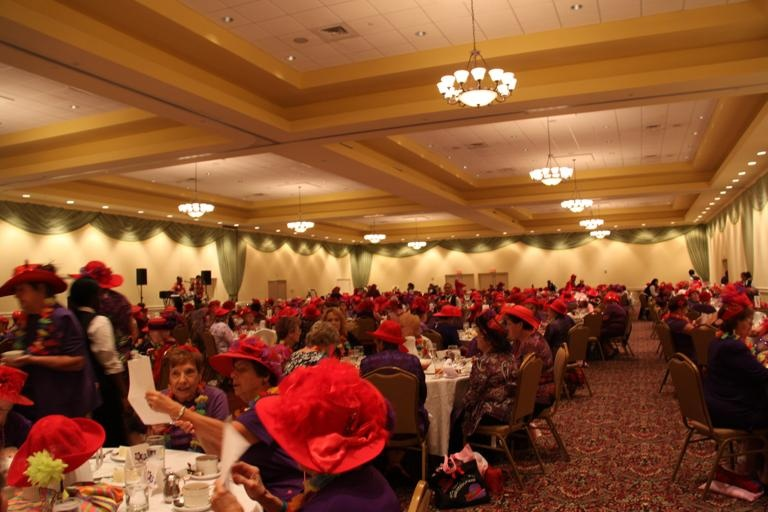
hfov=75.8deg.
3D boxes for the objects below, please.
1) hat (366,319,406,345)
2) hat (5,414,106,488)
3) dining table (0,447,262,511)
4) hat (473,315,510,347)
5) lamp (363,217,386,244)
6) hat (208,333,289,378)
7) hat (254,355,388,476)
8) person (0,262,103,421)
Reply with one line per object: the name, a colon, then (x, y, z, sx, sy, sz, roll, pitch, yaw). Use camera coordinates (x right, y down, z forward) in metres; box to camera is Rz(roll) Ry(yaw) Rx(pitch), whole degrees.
hat: (0.007, 0.762, 5.147, 0.311, 0.110, 0.277, 20, 9, 42)
hat: (-1.682, 0.995, 2.627, 0.361, 0.163, 0.411, 8, 38, 7)
dining table: (-1.337, 1.198, 2.622, 0.774, 0.164, 0.719, -1, -11, 8)
hat: (1.146, 0.810, 5.202, 0.338, 0.384, 0.217, 1, -5, 12)
lamp: (-0.459, -1.009, 24.034, 1.158, 1.521, 1.072, 0, 9, -2)
hat: (-0.920, 0.731, 3.424, 0.414, 0.203, 0.352, 18, -26, -37)
hat: (-0.266, 0.692, 2.170, 0.566, 0.456, 0.177, 3, -5, -13)
person: (-2.730, 0.714, 4.064, 0.740, 1.243, 0.323, 4, -5, -26)
